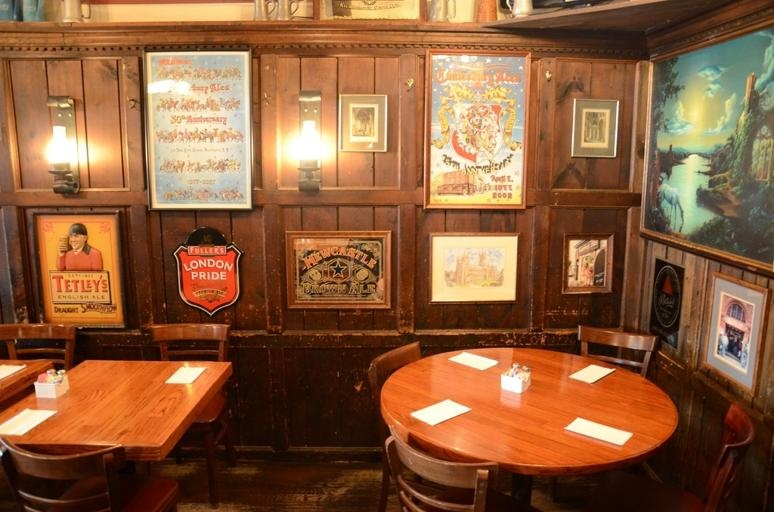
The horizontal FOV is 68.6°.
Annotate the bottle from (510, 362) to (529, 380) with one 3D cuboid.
[{"bbox_3d":[0.900,0.778,3.854,0.093,0.041,0.113,2,4,4],"label":"bottle"}]

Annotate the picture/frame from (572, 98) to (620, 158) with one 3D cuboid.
[{"bbox_3d":[1.677,-1.051,4.586,0.506,0.599,0.044,0,5,-5],"label":"picture/frame"}]

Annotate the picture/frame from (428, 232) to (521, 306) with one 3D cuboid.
[{"bbox_3d":[0.702,0.075,4.682,0.630,0.470,0.051,0,4,-2],"label":"picture/frame"}]

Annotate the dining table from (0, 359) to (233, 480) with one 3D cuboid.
[{"bbox_3d":[-1.757,0.997,3.749,0.941,0.547,0.902,2,17,4],"label":"dining table"}]

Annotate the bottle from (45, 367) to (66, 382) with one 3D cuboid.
[{"bbox_3d":[-2.305,0.821,3.935,0.123,0.061,0.120,8,3,0],"label":"bottle"}]

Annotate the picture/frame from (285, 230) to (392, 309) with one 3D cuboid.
[{"bbox_3d":[-0.408,0.080,4.676,0.688,0.488,0.053,0,5,0],"label":"picture/frame"}]

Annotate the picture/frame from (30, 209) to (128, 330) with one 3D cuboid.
[{"bbox_3d":[-2.549,0.063,4.683,1.051,1.276,0.059,1,8,2],"label":"picture/frame"}]

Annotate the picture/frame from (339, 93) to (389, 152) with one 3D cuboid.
[{"bbox_3d":[-0.195,-1.085,4.529,0.466,0.504,0.036,0,4,-3],"label":"picture/frame"}]

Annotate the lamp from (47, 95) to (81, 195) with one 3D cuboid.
[{"bbox_3d":[-2.613,-0.887,4.534,0.253,0.730,0.257,7,9,41],"label":"lamp"}]

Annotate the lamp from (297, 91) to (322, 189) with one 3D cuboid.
[{"bbox_3d":[-0.616,-0.901,4.493,0.240,0.778,0.156,-5,10,-6],"label":"lamp"}]
